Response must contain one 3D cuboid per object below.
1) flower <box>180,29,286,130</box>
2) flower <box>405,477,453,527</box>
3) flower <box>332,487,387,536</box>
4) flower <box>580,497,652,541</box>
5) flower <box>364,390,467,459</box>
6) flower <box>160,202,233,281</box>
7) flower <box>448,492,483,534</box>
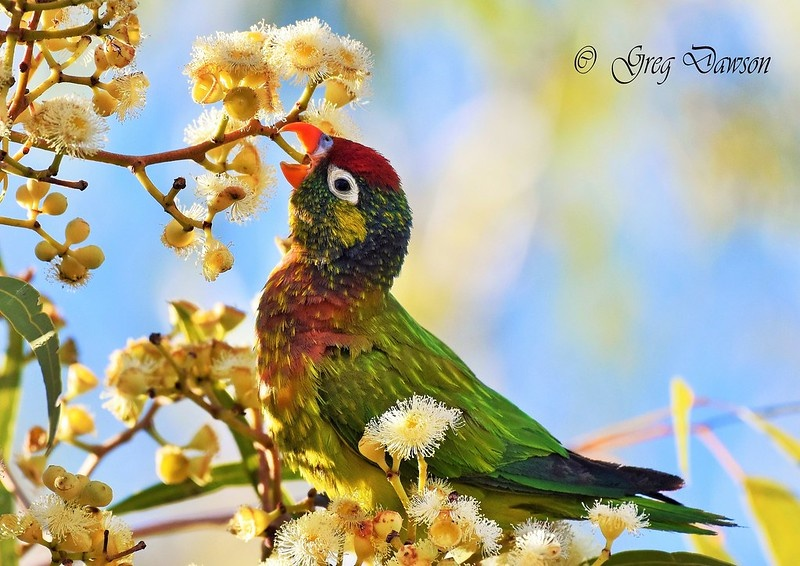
[{"bbox_3d":[-0.427,-0.521,3.099,0.239,0.227,0.206,-7,17,-15],"label":"flower"},{"bbox_3d":[0.073,0.526,2.905,0.091,0.048,0.102,-38,17,6],"label":"flower"},{"bbox_3d":[-0.104,0.568,2.930,0.164,0.064,0.074,14,23,42],"label":"flower"},{"bbox_3d":[0.521,0.567,2.949,0.129,0.100,0.139,0,-19,36],"label":"flower"},{"bbox_3d":[0.031,0.384,2.941,0.196,0.070,0.181,12,56,42],"label":"flower"},{"bbox_3d":[-0.471,-0.104,2.825,0.134,0.100,0.129,34,36,-7],"label":"flower"},{"bbox_3d":[0.155,0.546,2.864,0.032,0.075,0.072,-27,12,42],"label":"flower"}]
